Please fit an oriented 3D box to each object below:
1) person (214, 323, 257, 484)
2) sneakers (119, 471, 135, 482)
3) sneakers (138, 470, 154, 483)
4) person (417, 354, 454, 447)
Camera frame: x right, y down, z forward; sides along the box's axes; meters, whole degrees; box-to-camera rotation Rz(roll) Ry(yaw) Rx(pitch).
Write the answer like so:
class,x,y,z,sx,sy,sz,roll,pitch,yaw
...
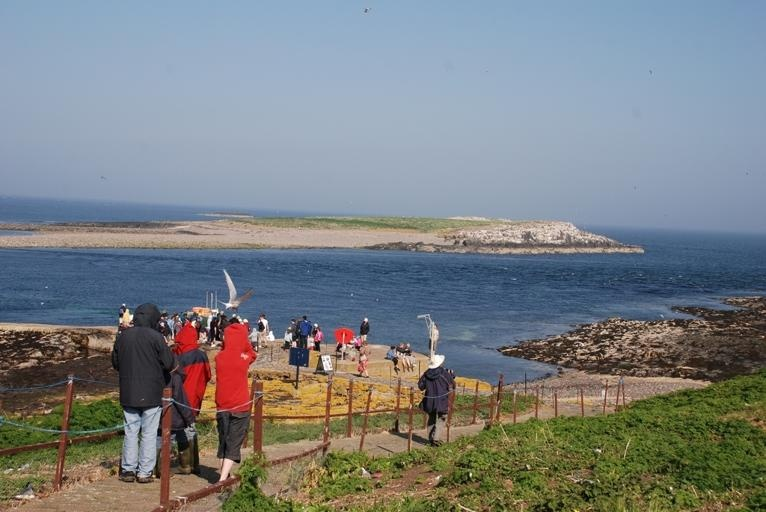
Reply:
class,x,y,z,sx,sy,sz,roll,pitch,yaw
person,-3.259,3.109,15.523,0.731,3.460,0.750,5,0,43
sneakers,-5.426,4.672,14.948,0.183,0.147,0.361,2,4,-26
sneakers,-5.064,4.701,15.055,0.162,0.149,0.362,4,4,11
person,1.450,4.062,19.845,0.994,2.546,0.990,5,0,3
